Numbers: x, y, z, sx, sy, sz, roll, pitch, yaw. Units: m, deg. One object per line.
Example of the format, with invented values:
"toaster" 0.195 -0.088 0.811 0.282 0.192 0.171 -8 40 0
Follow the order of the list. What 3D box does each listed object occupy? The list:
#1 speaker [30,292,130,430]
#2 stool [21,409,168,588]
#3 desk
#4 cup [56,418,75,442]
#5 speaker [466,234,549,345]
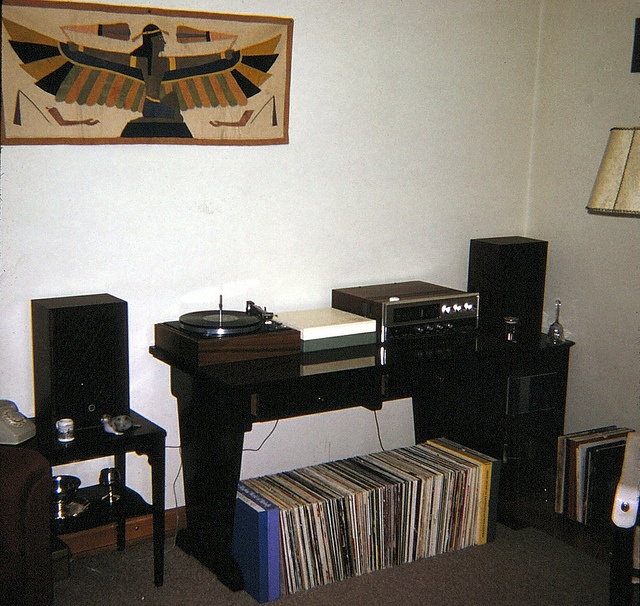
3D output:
"speaker" -0.802 0.185 2.234 0.311 0.408 0.272 -5 15 -26
"stool" -0.792 0.666 2.434 0.442 0.628 0.596 -8 19 -29
"desk" 0.202 0.492 2.639 1.617 0.878 0.520 -5 15 -26
"cup" -0.800 0.398 2.088 0.056 0.072 0.058 2 10 0
"speaker" 0.851 -0.073 3.046 0.348 0.416 0.223 5 13 15
